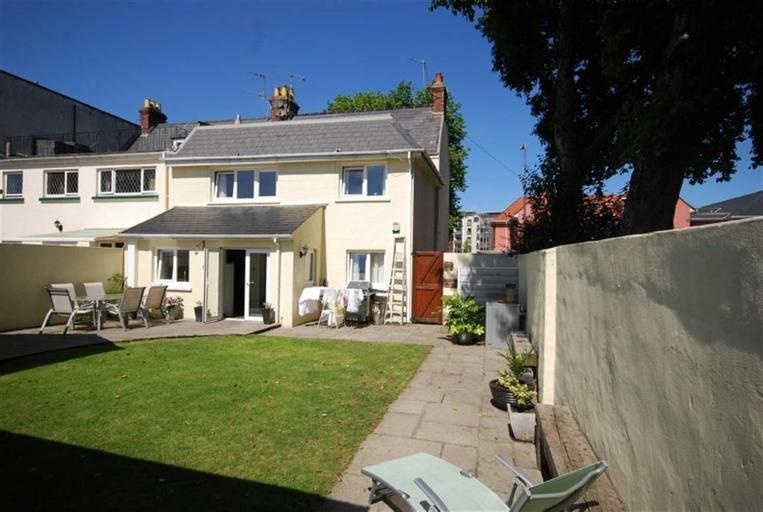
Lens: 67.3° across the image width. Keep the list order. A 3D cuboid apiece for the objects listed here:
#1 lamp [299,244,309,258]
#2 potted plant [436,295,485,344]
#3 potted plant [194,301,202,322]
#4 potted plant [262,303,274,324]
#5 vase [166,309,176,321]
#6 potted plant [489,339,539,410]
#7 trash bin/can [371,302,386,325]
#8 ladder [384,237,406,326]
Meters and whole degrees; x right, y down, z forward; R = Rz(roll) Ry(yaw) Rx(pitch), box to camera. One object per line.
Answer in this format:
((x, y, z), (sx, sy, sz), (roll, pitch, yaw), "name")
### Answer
((-2.807, -0.152, 20.722), (0.350, 0.546, 0.372), (-9, -9, 43), "lamp")
((2.468, 1.988, 18.264), (1.547, 1.729, 1.345), (0, -5, -9), "potted plant")
((-6.666, 2.090, 20.863), (0.276, 0.622, 1.211), (-4, 15, -20), "potted plant")
((-4.000, 2.049, 20.184), (0.544, 0.642, 0.528), (-1, -7, -6), "potted plant")
((-7.801, 2.191, 21.106), (0.310, 0.632, 0.322), (-3, -4, 29), "vase")
((3.032, 2.713, 12.735), (0.952, 1.404, 1.000), (1, -2, -5), "potted plant")
((-0.038, 2.176, 21.354), (0.545, 0.680, 0.645), (1, -8, -5), "trash bin/can")
((0.623, 0.929, 21.482), (0.784, 3.114, 0.920), (2, 14, 3), "ladder")
